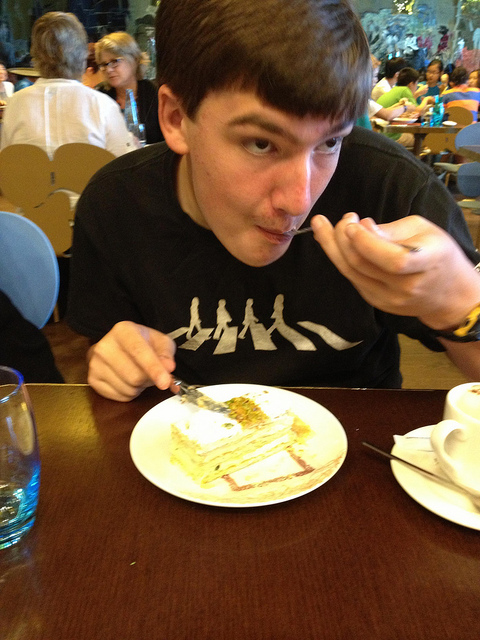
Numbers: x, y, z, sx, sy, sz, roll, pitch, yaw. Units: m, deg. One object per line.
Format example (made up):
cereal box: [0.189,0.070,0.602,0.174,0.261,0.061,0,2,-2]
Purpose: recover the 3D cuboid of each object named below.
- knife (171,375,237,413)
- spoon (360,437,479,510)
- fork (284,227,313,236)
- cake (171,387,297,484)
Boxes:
knife: [-0.057,0.126,0.846,0.022,0.013,0.157,-24,27,-24]
spoon: [0.219,0.185,0.620,0.038,0.006,0.112,-23,28,-22]
fork: [0.102,-0.152,0.855,0.036,0.014,0.113,3,15,12]
cake: [-0.006,0.162,0.718,0.131,0.039,0.086,-20,36,-28]
